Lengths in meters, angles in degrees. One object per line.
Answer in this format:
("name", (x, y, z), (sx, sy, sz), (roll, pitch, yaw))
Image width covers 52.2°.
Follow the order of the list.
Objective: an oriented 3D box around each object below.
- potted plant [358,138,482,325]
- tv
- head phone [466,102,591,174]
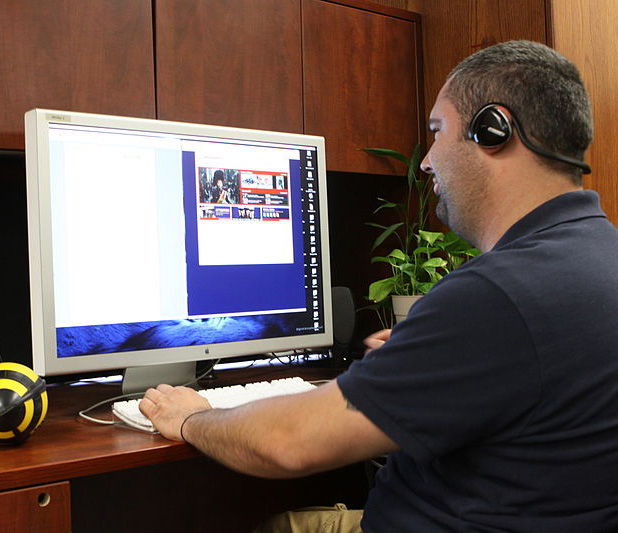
("potted plant", (0.295, -0.017, 1.901), (0.216, 0.391, 0.222), (1, -1, -29))
("tv", (-0.296, -0.029, 1.410), (0.677, 0.582, 0.213), (0, -3, -34))
("head phone", (0.372, -0.216, 1.045), (0.152, 0.056, 0.112), (25, -26, 11))
